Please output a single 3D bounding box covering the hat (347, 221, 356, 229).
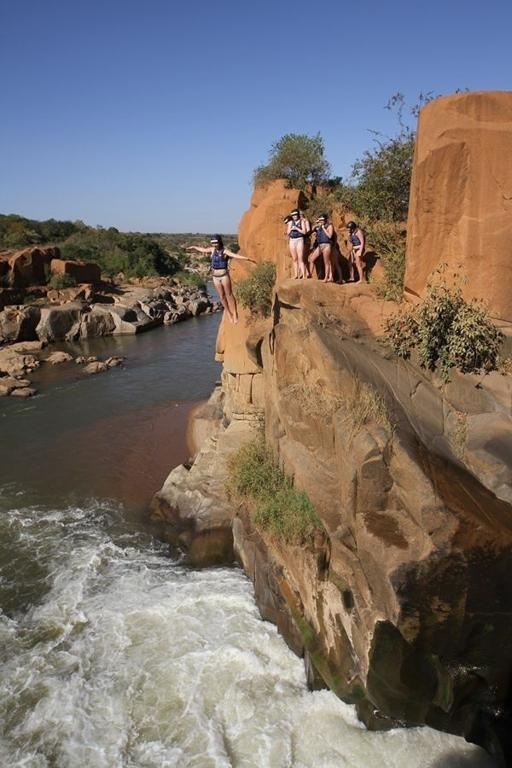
[{"bbox_3d":[2.282,-3.773,13.019,0.216,0.203,0.450,3,10,9],"label":"hat"}]

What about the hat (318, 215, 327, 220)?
[{"bbox_3d":[1.578,-3.937,12.949,0.236,0.134,0.275,4,20,9],"label":"hat"}]

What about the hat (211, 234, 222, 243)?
[{"bbox_3d":[-0.952,-3.472,13.135,0.240,0.186,0.457,1,10,-6],"label":"hat"}]
